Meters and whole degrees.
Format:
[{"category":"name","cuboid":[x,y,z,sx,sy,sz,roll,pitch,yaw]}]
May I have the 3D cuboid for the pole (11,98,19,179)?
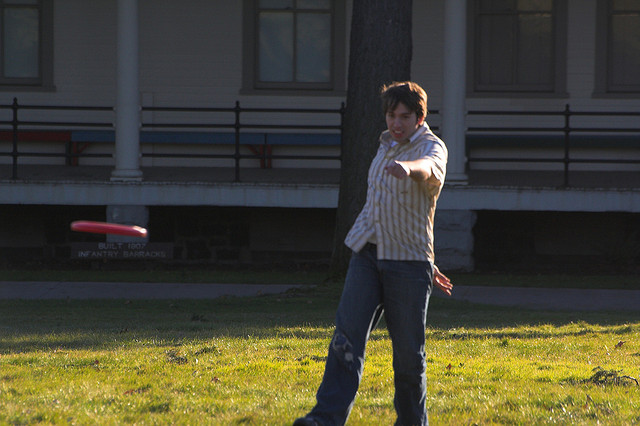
[{"category":"pole","cuboid":[-6.388,-1.527,34.032,0.134,1.686,0.778,0,3,-11]}]
